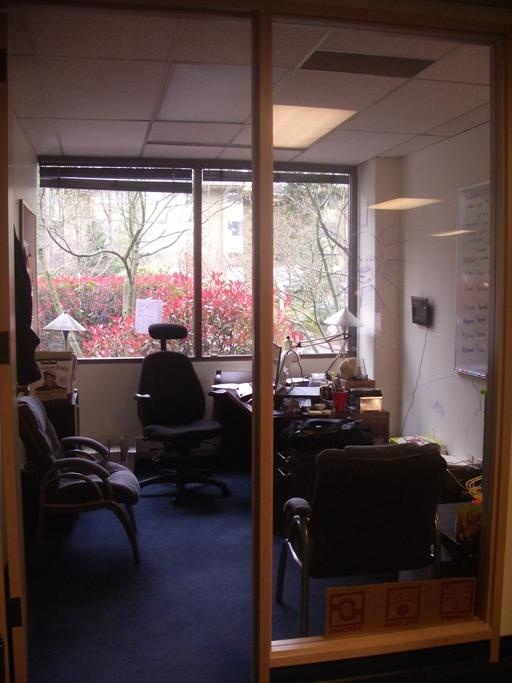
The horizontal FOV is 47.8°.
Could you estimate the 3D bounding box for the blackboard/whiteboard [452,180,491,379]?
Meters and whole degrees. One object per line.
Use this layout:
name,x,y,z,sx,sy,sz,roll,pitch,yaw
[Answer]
blackboard/whiteboard,0.747,-0.208,1.998,0.120,0.664,0.034,2,4,44

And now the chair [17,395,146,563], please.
chair,-0.893,0.668,2.970,0.584,0.822,0.644,-2,3,-21

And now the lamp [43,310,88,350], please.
lamp,-1.347,-0.076,4.146,0.288,0.296,0.280,1,4,-6
